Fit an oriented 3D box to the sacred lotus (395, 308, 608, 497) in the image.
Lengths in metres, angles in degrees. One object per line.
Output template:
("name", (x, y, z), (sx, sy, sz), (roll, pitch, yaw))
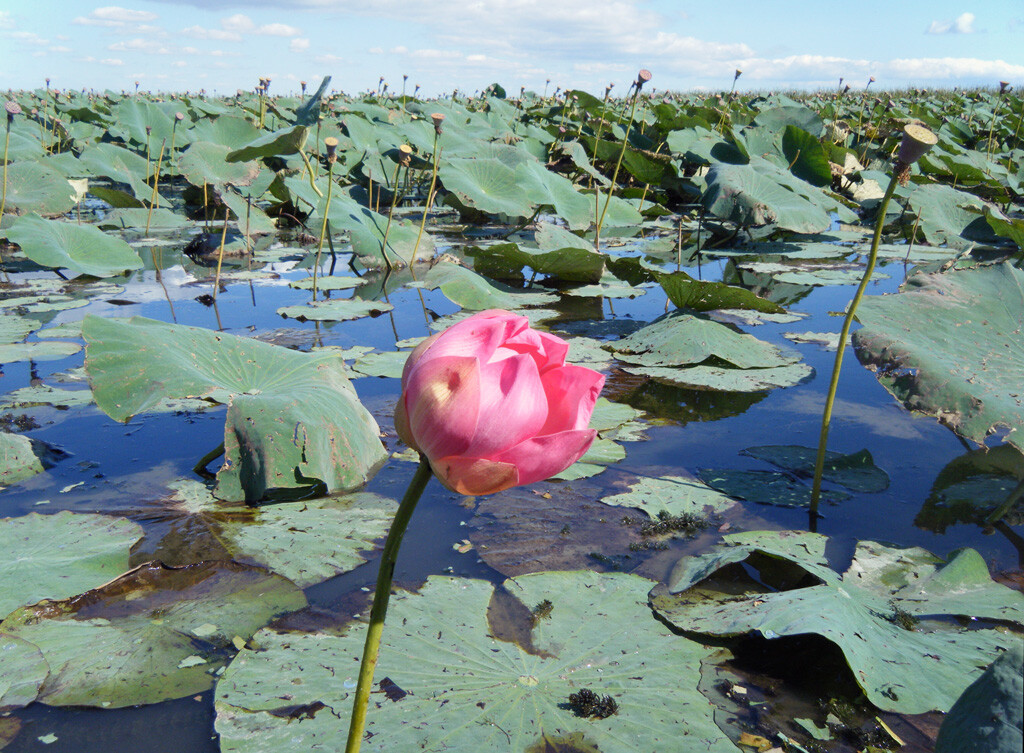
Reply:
("sacred lotus", (-0.019, 0.061, 1.368), (0.388, 0.226, 0.320), (-2, -14, 3))
